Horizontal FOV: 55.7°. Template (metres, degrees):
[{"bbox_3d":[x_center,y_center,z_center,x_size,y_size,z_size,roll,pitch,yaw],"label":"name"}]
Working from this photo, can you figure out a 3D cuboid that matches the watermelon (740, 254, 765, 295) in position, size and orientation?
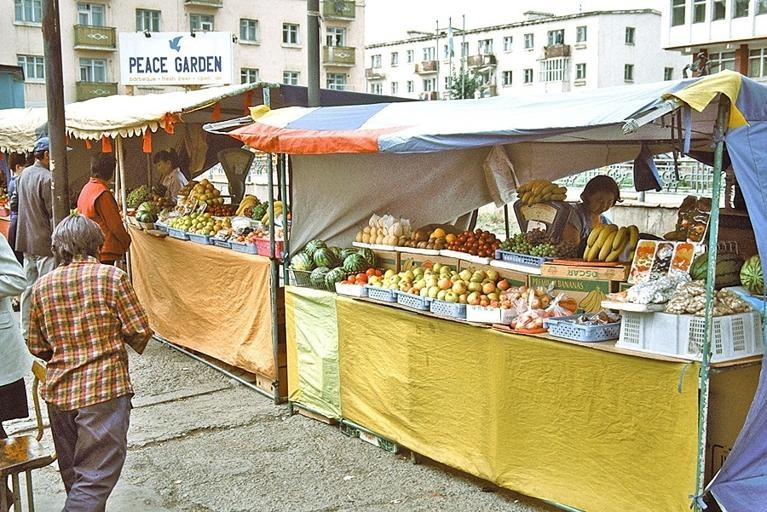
[{"bbox_3d":[2.744,0.140,5.399,0.153,0.267,0.330,3,15,18],"label":"watermelon"}]

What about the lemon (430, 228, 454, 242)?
[{"bbox_3d":[0.563,-0.233,7.104,0.135,0.114,0.236,0,12,-33],"label":"lemon"}]

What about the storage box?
[{"bbox_3d":[0.771,0.177,6.531,1.592,0.454,0.293,-2,24,-14],"label":"storage box"}]

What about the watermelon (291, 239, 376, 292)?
[{"bbox_3d":[-0.575,0.089,7.454,0.459,0.305,0.729,-15,11,-38],"label":"watermelon"}]

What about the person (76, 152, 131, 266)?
[{"bbox_3d":[-3.522,-0.145,9.089,0.638,2.217,0.712,3,11,-5],"label":"person"}]

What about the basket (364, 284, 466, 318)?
[{"bbox_3d":[0.296,0.407,6.401,0.314,0.086,0.561,-1,11,-40],"label":"basket"}]

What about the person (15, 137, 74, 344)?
[{"bbox_3d":[-4.491,-0.243,9.600,0.803,2.596,0.785,2,5,39],"label":"person"}]

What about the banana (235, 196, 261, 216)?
[{"bbox_3d":[-1.811,-0.628,9.619,0.223,0.156,0.442,-2,28,12],"label":"banana"}]

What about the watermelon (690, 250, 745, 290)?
[{"bbox_3d":[2.568,0.098,5.527,0.485,0.233,0.206,-6,15,-19],"label":"watermelon"}]

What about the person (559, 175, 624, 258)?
[{"bbox_3d":[2.037,-0.484,7.481,0.562,1.222,0.720,4,5,29],"label":"person"}]

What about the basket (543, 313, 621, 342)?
[{"bbox_3d":[1.516,0.537,5.548,0.560,0.172,0.294,2,15,11],"label":"basket"}]
